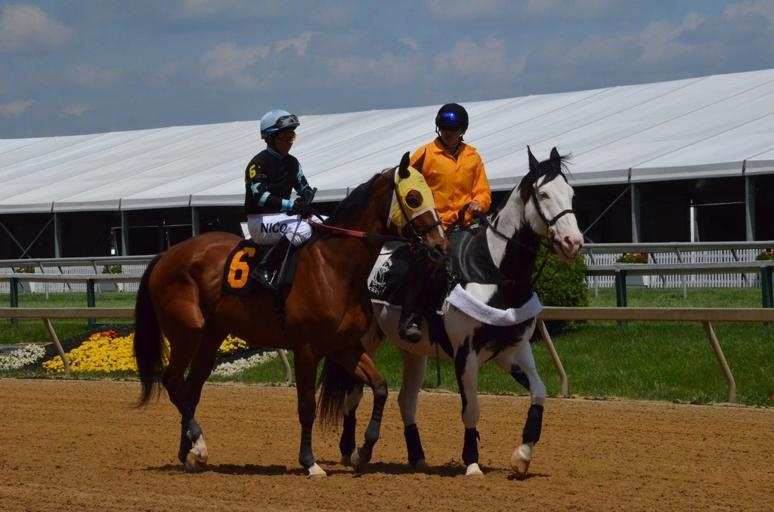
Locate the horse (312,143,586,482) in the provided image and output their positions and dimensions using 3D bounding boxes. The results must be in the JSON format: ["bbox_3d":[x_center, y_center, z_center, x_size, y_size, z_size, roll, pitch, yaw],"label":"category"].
[{"bbox_3d":[0.877,1.097,17.272,1.330,4.269,5.268,5,-10,-37],"label":"horse"}]

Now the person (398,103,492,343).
[{"bbox_3d":[0.951,-0.614,17.210,1.059,3.446,1.001,3,30,11],"label":"person"}]

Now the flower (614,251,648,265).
[{"bbox_3d":[5.183,0.013,25.602,0.671,0.231,0.385,2,12,18],"label":"flower"}]

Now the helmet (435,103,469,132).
[{"bbox_3d":[0.887,-1.949,16.734,0.429,0.405,0.295,-2,11,-1],"label":"helmet"}]
